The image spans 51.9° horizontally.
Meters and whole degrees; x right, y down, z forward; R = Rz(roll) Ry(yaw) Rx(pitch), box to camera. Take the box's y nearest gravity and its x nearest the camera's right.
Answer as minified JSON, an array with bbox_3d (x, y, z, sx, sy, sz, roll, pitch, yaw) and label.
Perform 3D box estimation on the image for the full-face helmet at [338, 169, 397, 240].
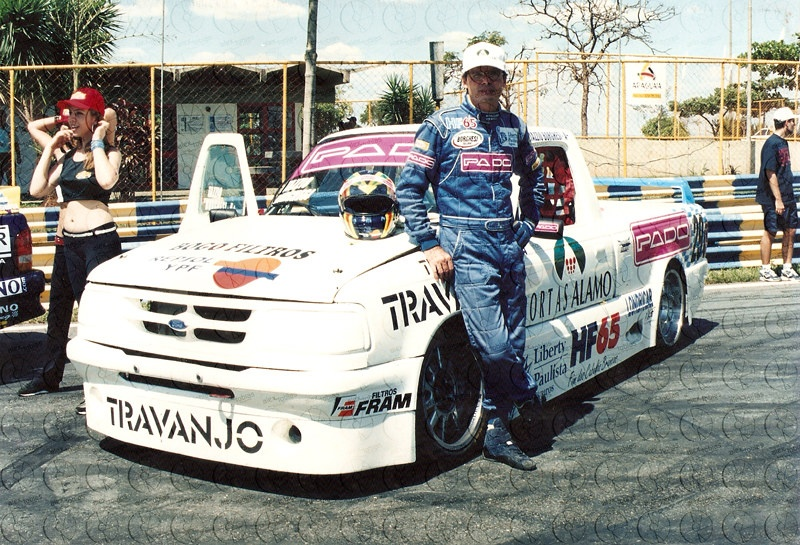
[{"bbox_3d":[-0.226,-0.507,6.130,0.413,0.491,0.575,-4,8,-14],"label":"full-face helmet"}]

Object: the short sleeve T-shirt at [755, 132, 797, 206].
[{"bbox_3d":[5.360,-1.474,11.682,0.523,0.976,0.388,-1,11,-1],"label":"short sleeve T-shirt"}]

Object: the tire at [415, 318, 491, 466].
[{"bbox_3d":[0.364,0.883,5.899,0.229,0.900,0.822,-1,-3,27],"label":"tire"}]

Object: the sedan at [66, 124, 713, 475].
[{"bbox_3d":[0.047,0.360,6.591,2.544,1.584,3.891,5,9,37],"label":"sedan"}]

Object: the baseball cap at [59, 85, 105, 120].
[{"bbox_3d":[-2.694,-1.456,7.012,0.225,0.210,0.323,11,-4,45],"label":"baseball cap"}]

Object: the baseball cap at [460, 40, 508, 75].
[{"bbox_3d":[0.605,-1.538,5.888,0.315,0.216,0.212,1,13,6],"label":"baseball cap"}]

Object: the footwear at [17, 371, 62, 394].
[{"bbox_3d":[-3.185,0.986,7.367,0.419,0.223,0.168,1,4,-22],"label":"footwear"}]

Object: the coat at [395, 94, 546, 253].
[{"bbox_3d":[0.514,-0.669,5.972,1.105,1.125,0.433,-1,6,-21],"label":"coat"}]
